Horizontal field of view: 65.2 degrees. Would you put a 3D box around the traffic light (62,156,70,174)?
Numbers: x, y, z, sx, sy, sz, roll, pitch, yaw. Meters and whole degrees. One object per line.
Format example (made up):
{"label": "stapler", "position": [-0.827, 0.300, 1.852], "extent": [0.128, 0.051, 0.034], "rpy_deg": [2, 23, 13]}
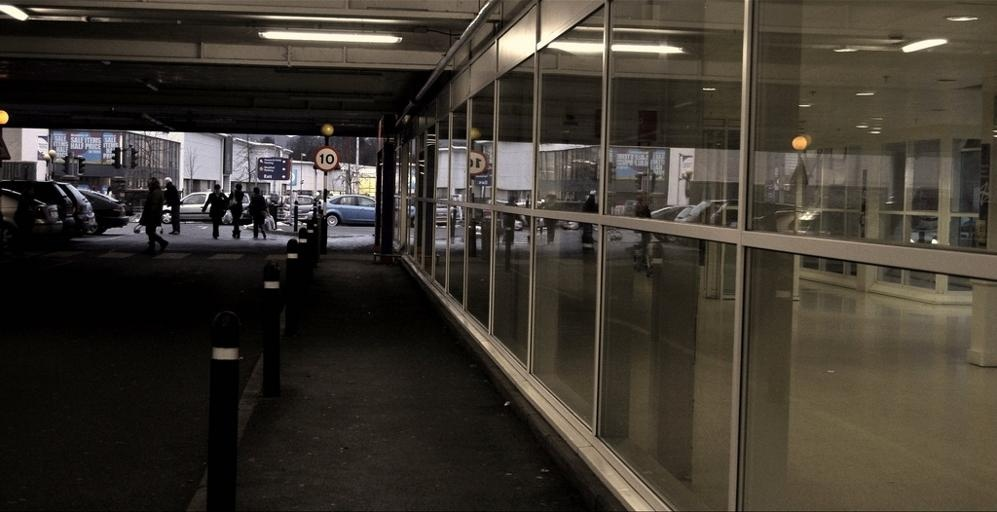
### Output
{"label": "traffic light", "position": [-23.834, -5.126, 43.016], "extent": [0.206, 0.862, 0.758], "rpy_deg": [-1, 7, -20]}

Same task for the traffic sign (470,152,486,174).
{"label": "traffic sign", "position": [-0.321, -1.524, 12.555], "extent": [0.074, 0.366, 0.464], "rpy_deg": [1, -1, -27]}

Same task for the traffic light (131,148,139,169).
{"label": "traffic light", "position": [-21.130, -5.749, 45.078], "extent": [0.322, 0.960, 3.058], "rpy_deg": [-2, 7, -27]}

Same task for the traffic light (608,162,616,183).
{"label": "traffic light", "position": [1.143, -0.845, 7.785], "extent": [0.034, 0.205, 0.176], "rpy_deg": [0, 7, -15]}
